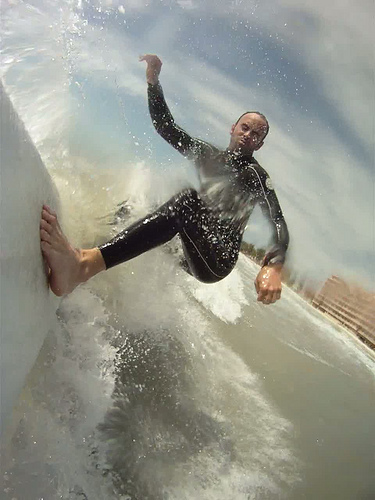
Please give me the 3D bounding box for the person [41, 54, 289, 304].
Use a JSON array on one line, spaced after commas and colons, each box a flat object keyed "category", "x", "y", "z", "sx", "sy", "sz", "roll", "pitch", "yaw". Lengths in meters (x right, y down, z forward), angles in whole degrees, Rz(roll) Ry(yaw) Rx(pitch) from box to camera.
[{"category": "person", "x": -0.084, "y": -0.119, "z": 1.455, "sx": 0.774, "sy": 0.531, "sz": 0.669, "roll": 6, "pitch": 33, "yaw": -34}]
